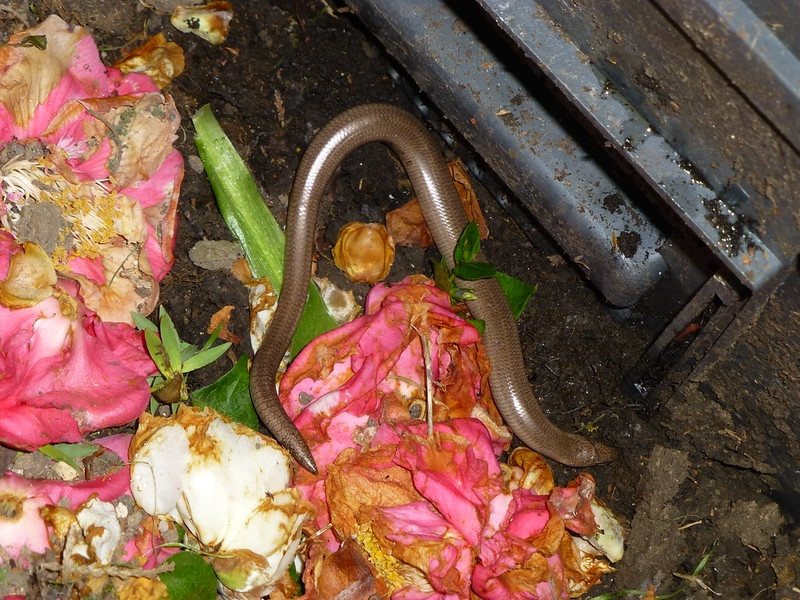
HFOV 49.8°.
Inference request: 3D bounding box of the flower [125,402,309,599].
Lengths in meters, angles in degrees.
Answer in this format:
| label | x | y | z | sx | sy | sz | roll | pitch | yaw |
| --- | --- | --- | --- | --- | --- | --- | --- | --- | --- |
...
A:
| label | x | y | z | sx | sy | sz | roll | pitch | yaw |
| --- | --- | --- | --- | --- | --- | --- | --- | --- | --- |
| flower | -0.620 | 0.623 | 2.836 | 0.467 | 0.614 | 0.265 | -38 | 7 | -21 |
